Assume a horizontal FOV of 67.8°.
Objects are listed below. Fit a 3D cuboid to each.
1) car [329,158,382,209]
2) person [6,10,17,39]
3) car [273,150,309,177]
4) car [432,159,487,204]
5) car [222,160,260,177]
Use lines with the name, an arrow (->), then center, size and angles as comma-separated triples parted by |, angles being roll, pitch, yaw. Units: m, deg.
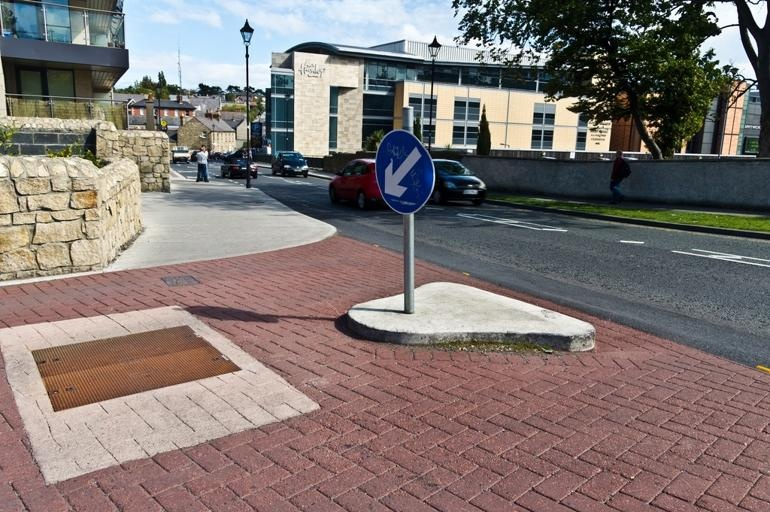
car -> -0.985, -2.669, 20.569 | 1.477, 1.061, 2.482 | -6, 16, -27
person -> -14.620, -9.119, 22.339 | 0.482, 0.987, 0.231 | -6, 16, -29
car -> -6.832, -6.623, 40.675 | 1.696, 1.252, 2.717 | -2, 6, -24
car -> 2.673, -2.786, 21.319 | 1.385, 1.038, 2.350 | -2, 9, -21
car -> -9.625, -5.654, 36.694 | 1.293, 0.817, 2.758 | -4, 15, -22
